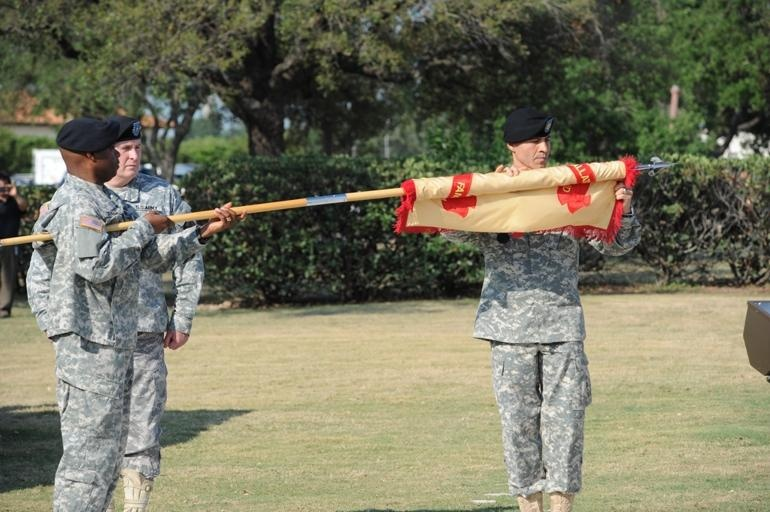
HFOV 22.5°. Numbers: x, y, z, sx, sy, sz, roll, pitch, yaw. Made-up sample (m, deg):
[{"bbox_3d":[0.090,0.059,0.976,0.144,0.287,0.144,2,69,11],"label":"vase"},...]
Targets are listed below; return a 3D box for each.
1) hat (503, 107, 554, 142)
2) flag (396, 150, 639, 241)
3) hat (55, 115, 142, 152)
[{"bbox_3d":[1.357,-1.248,18.252,0.583,0.276,0.454,2,13,43],"label":"hat"},{"bbox_3d":[1.256,-0.440,18.154,2.460,0.808,0.686,-5,-1,-19],"label":"flag"},{"bbox_3d":[-2.593,-1.117,17.764,0.577,0.212,0.406,-10,2,-40],"label":"hat"}]
